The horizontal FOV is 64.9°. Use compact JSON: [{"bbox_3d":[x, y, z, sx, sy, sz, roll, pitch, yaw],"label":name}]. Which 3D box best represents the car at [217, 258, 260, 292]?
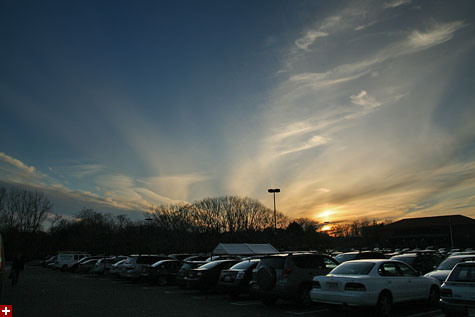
[{"bbox_3d":[-0.095,6.622,22.942,1.522,1.168,3.665,4,5,13],"label":"car"}]

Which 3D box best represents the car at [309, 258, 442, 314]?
[{"bbox_3d":[6.610,6.077,17.636,5.597,2.475,1.557,9,-20,-20],"label":"car"}]
